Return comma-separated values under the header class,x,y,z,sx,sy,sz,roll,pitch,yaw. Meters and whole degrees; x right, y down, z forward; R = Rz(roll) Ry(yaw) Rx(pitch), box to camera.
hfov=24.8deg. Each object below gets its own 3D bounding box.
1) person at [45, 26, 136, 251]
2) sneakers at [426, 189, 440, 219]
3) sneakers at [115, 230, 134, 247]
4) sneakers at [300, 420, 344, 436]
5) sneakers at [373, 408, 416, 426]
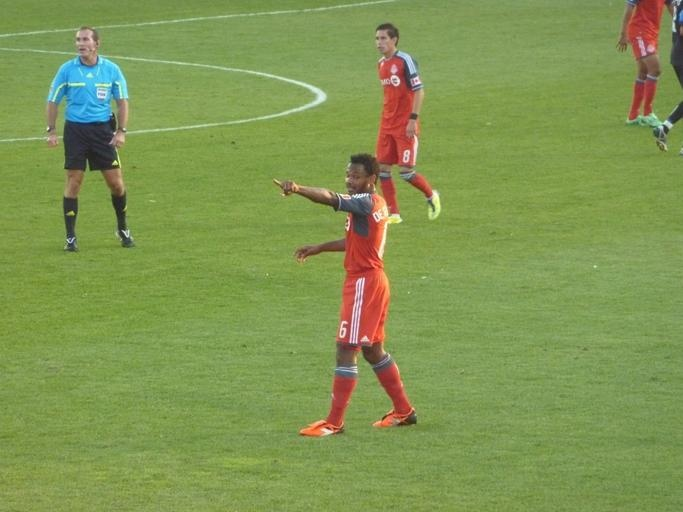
class,x,y,z,sx,sy,sz,roll,pitch,yaw
person,-2.905,-1.378,18.003,0.944,2.606,0.691,-2,19,-8
sneakers,1.139,-0.651,19.403,0.138,0.364,0.177,7,20,22
sneakers,-2.524,-0.218,18.346,0.118,0.121,0.287,-14,25,-33
sneakers,-0.166,1.566,13.927,0.294,0.092,0.158,1,-1,-8
sneakers,0.493,1.500,14.206,0.409,0.142,0.143,0,-1,-3
